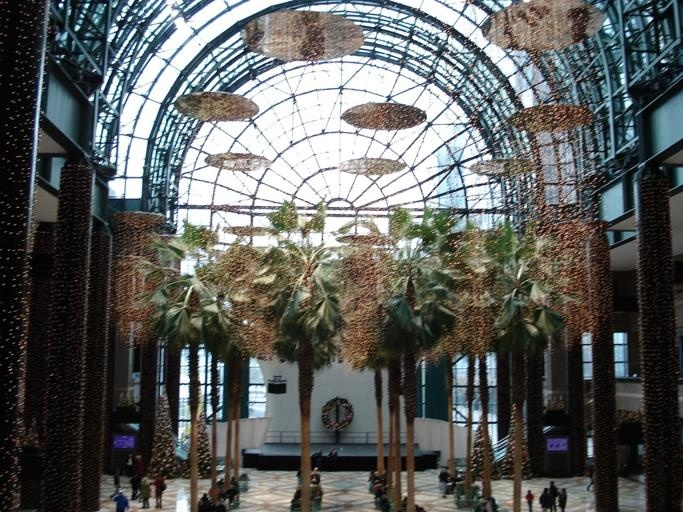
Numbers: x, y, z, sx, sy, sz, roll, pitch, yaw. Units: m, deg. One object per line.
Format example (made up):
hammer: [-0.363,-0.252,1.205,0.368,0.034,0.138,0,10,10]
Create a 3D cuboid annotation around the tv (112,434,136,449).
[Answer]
tv: [-9.557,8.064,40.295,1.540,0.669,0.664,0,-9,0]
